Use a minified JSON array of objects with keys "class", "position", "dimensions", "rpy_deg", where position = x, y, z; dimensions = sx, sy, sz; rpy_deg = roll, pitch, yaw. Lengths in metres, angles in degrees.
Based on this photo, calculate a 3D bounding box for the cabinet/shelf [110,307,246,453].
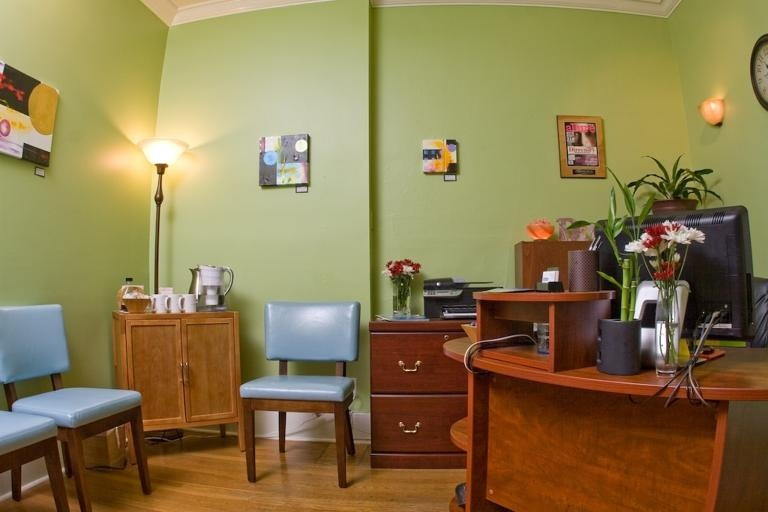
[{"class":"cabinet/shelf","position":[-1.622,1.060,4.485],"dimensions":[0.836,1.059,0.597],"rpy_deg":[3,-31,-32]}]

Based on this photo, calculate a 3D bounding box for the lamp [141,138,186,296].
[{"class":"lamp","position":[-1.850,-0.355,4.902],"dimensions":[0.370,1.296,0.478],"rpy_deg":[-5,13,-22]}]

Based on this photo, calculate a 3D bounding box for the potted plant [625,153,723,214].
[{"class":"potted plant","position":[2.383,-0.512,4.858],"dimensions":[0.743,0.502,0.733],"rpy_deg":[2,-5,-22]}]

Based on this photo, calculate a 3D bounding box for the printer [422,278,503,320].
[{"class":"printer","position":[0.525,0.335,4.411],"dimensions":[0.417,0.297,0.194],"rpy_deg":[2,12,9]}]

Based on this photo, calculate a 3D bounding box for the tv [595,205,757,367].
[{"class":"tv","position":[1.545,0.177,3.000],"dimensions":[0.845,0.795,0.298],"rpy_deg":[0,2,27]}]

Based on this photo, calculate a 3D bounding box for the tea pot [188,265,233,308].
[{"class":"tea pot","position":[-1.350,0.259,4.670],"dimensions":[0.378,0.365,0.317],"rpy_deg":[1,-4,0]}]

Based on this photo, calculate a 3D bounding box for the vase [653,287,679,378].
[{"class":"vase","position":[1.421,0.367,2.831],"dimensions":[0.117,0.431,0.159],"rpy_deg":[4,12,19]}]

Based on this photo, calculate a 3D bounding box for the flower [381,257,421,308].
[{"class":"flower","position":[0.128,0.231,4.649],"dimensions":[0.258,0.416,0.316],"rpy_deg":[-3,12,-15]}]

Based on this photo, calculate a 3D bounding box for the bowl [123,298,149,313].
[{"class":"bowl","position":[-1.882,0.373,4.314],"dimensions":[0.128,0.062,0.130],"rpy_deg":[0,-2,0]}]

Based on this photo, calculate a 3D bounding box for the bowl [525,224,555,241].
[{"class":"bowl","position":[1.248,-0.171,4.518],"dimensions":[0.144,0.099,0.146],"rpy_deg":[1,-3,0]}]

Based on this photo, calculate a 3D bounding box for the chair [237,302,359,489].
[{"class":"chair","position":[-0.598,0.974,4.275],"dimensions":[0.780,1.161,0.889],"rpy_deg":[1,12,4]}]

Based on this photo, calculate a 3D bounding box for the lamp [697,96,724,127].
[{"class":"lamp","position":[2.666,-1.162,4.638],"dimensions":[0.217,0.225,0.202],"rpy_deg":[3,-5,-3]}]

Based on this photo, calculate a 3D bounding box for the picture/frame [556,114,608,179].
[{"class":"picture/frame","position":[1.678,-0.912,4.844],"dimensions":[0.540,0.681,0.046],"rpy_deg":[-1,-8,-4]}]

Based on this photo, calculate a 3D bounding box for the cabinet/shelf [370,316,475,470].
[{"class":"cabinet/shelf","position":[0.290,1.026,4.074],"dimensions":[1.082,1.063,0.617],"rpy_deg":[-1,-5,4]}]
